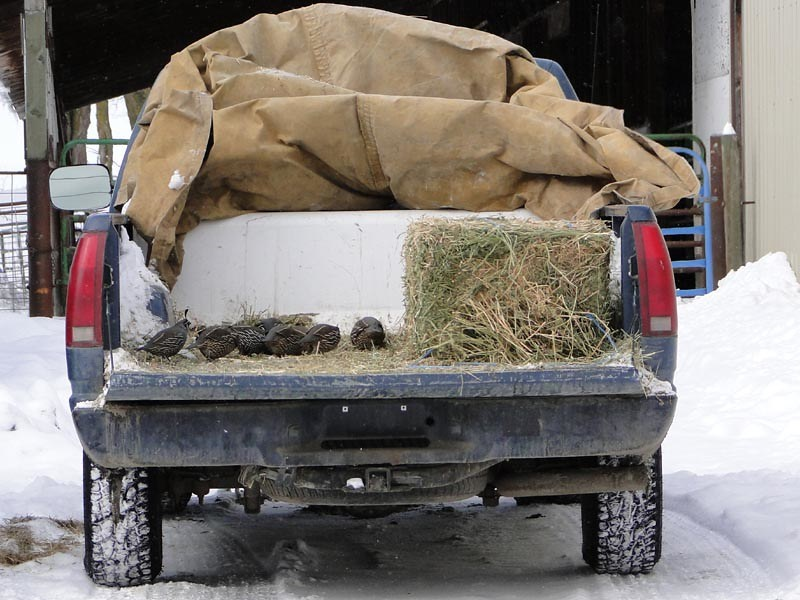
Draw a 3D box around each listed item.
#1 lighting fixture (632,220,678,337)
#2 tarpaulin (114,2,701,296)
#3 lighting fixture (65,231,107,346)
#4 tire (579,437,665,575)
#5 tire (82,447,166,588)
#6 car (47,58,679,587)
[{"bbox_3d":[1.462,-0.130,7.479,0.231,0.662,0.175,-1,4,-5],"label":"lighting fixture"},{"bbox_3d":[-0.097,-0.711,8.962,2.947,0.819,2.102,-10,35,-10],"label":"tarpaulin"},{"bbox_3d":[-1.766,-0.066,7.391,0.216,0.651,0.216,-1,4,-11],"label":"lighting fixture"},{"bbox_3d":[1.303,1.202,7.669,0.382,1.114,0.774,0,6,0],"label":"tire"},{"bbox_3d":[-1.611,1.261,7.591,0.351,0.980,0.693,0,-11,-1],"label":"tire"},{"bbox_3d":[-0.223,-0.035,8.482,3.957,3.332,3.163,0,4,12],"label":"car"}]
